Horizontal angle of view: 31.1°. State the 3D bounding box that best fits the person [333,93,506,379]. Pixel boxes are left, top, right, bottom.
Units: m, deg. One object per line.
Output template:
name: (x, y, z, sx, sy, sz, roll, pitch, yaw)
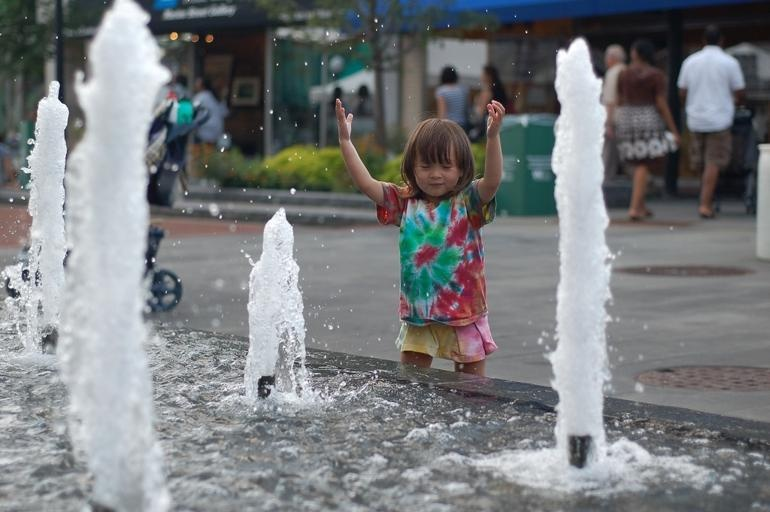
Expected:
person: (0.257, -0.128, 8.033, 0.923, 1.485, 0.351, -1, 5, 10)
